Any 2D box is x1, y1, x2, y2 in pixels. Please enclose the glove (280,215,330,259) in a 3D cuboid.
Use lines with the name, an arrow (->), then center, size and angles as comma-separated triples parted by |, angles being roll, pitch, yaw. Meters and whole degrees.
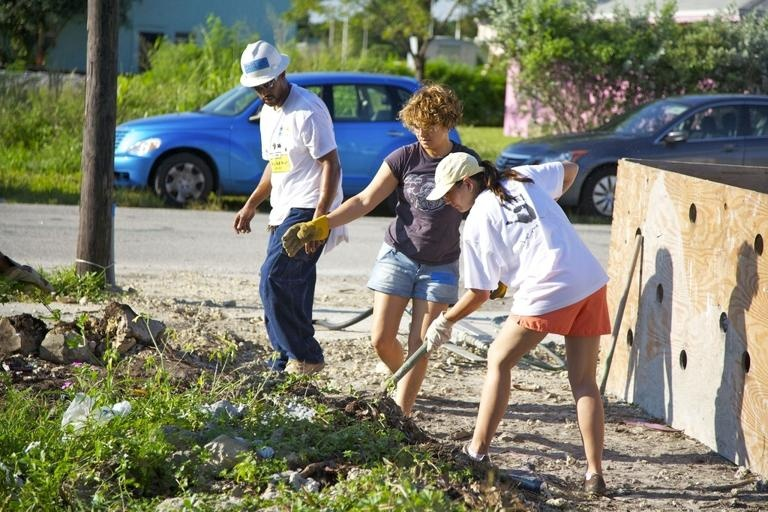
glove -> -0.846, -0.236, 15.798 | 0.558, 0.365, 0.210 | -33, -14, 20

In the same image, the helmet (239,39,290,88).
helmet -> -1.327, -2.125, 16.027 | 0.450, 0.274, 0.536 | -11, 39, 38

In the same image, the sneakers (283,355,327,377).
sneakers -> -0.901, 1.221, 16.105 | 0.448, 0.234, 0.162 | 3, -2, -15

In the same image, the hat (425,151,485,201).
hat -> 0.724, -0.924, 15.099 | 0.570, 0.350, 0.395 | -30, 11, 1
